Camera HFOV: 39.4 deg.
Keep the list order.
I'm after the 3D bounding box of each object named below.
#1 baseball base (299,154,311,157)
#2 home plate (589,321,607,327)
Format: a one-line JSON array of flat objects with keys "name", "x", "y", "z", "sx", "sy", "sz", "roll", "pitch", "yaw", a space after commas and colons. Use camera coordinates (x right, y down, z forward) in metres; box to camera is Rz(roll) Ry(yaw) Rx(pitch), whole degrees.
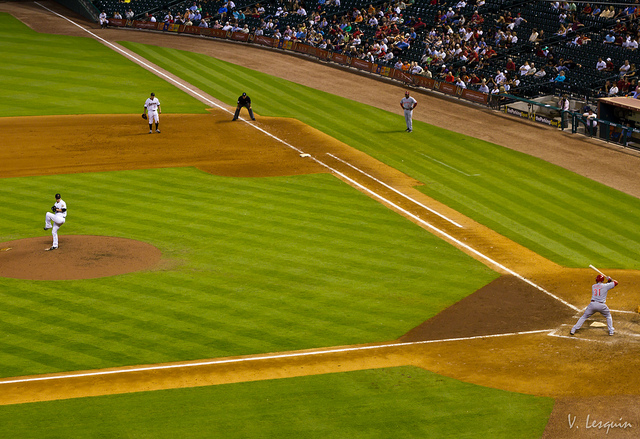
[{"name": "baseball base", "x": -0.854, "y": -3.713, "z": 51.168, "sx": 0.617, "sy": 0.136, "sz": 0.368, "roll": 3, "pitch": 11, "yaw": -13}, {"name": "home plate", "x": 11.578, "y": 4.371, "z": 37.157, "sx": 0.543, "sy": 0.129, "sz": 0.436, "roll": 8, "pitch": 11, "yaw": 16}]
